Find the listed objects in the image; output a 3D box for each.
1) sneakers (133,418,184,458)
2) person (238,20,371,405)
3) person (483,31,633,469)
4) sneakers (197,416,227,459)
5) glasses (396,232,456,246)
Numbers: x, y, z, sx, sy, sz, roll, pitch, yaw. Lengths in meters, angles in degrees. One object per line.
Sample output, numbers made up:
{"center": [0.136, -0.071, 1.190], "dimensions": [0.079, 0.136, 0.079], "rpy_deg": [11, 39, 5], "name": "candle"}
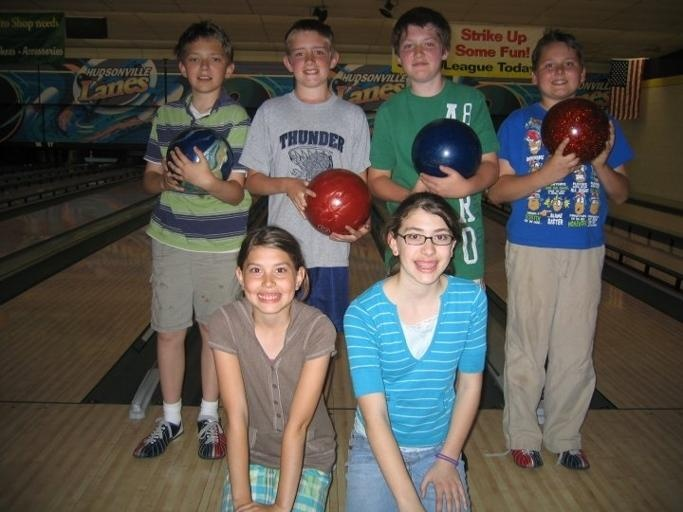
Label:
{"center": [-0.678, 0.675, 1.804], "dimensions": [0.092, 0.106, 0.256], "rpy_deg": [-7, 1, 18], "name": "sneakers"}
{"center": [-0.134, -0.098, 1.766], "dimensions": [0.484, 1.506, 0.416], "rpy_deg": [0, 9, -3], "name": "person"}
{"center": [0.755, -0.038, 1.746], "dimensions": [0.473, 1.510, 0.564], "rpy_deg": [9, 19, 28], "name": "person"}
{"center": [-0.491, 0.670, 1.807], "dimensions": [0.104, 0.093, 0.250], "rpy_deg": [8, 15, -24], "name": "sneakers"}
{"center": [0.238, -0.051, 1.343], "dimensions": [0.150, 0.033, 0.042], "rpy_deg": [2, 18, 6], "name": "glasses"}
